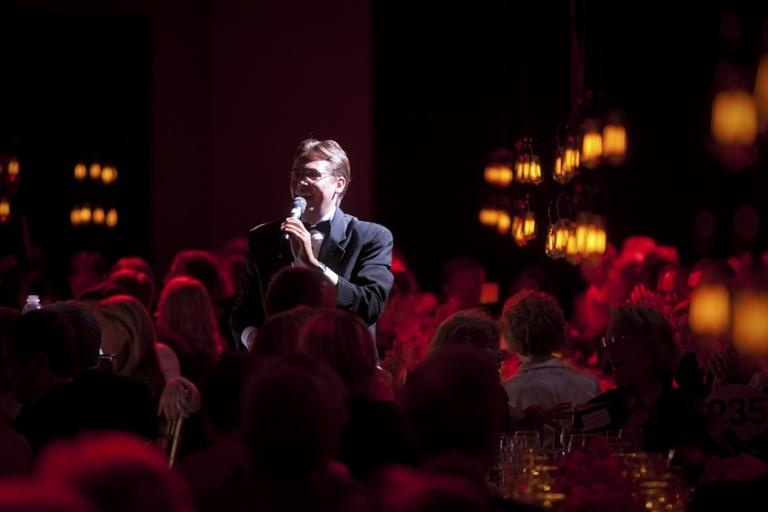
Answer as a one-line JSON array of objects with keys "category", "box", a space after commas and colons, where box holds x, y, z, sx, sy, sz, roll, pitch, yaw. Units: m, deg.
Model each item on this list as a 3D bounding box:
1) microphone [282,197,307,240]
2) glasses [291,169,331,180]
[{"category": "microphone", "box": [-0.408, -0.194, 2.956, 0.064, 0.066, 0.241, -6, 29, 12]}, {"category": "glasses", "box": [-0.334, -0.363, 2.930, 0.076, 0.023, 0.081, -1, -3, 27]}]
